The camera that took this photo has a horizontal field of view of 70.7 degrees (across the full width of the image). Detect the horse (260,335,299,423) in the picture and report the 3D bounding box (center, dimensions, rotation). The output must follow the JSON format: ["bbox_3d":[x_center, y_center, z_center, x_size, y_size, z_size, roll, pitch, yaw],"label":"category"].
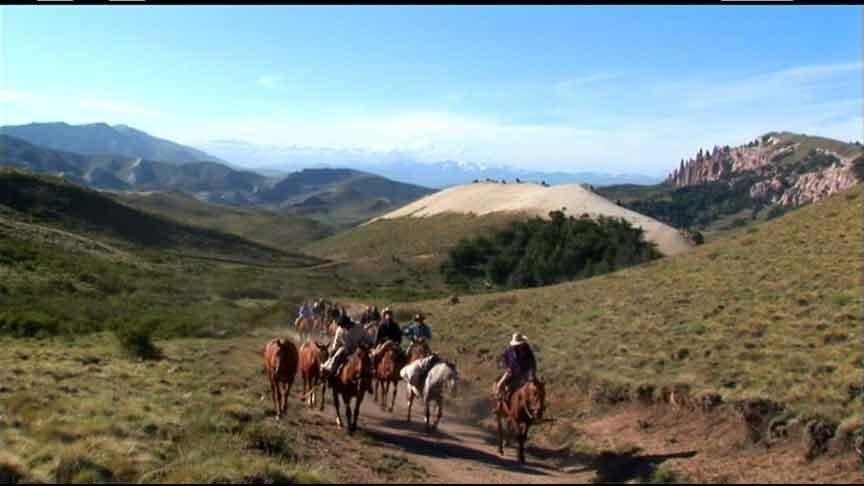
[{"bbox_3d":[-7.609,6.683,30.311,1.410,3.780,1.668,1,8,-16],"label":"horse"}]

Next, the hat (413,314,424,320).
[{"bbox_3d":[-0.871,4.388,35.836,0.709,0.163,0.663,-1,0,-25],"label":"hat"}]

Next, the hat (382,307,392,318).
[{"bbox_3d":[-2.640,4.092,34.759,0.663,0.676,0.238,-3,23,-14],"label":"hat"}]
